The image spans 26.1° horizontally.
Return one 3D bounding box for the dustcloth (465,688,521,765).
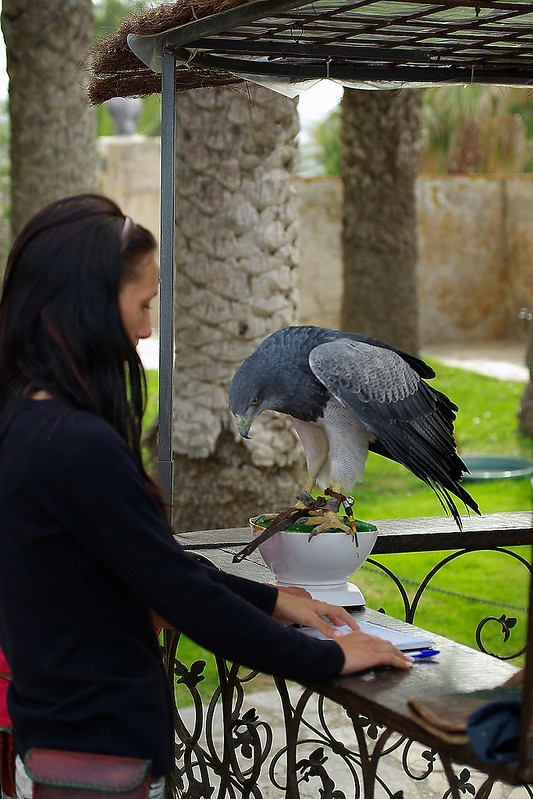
[{"bbox_3d":[0.352,0.480,1.680,0.083,0.078,0.129,1,6,10],"label":"dustcloth"}]
